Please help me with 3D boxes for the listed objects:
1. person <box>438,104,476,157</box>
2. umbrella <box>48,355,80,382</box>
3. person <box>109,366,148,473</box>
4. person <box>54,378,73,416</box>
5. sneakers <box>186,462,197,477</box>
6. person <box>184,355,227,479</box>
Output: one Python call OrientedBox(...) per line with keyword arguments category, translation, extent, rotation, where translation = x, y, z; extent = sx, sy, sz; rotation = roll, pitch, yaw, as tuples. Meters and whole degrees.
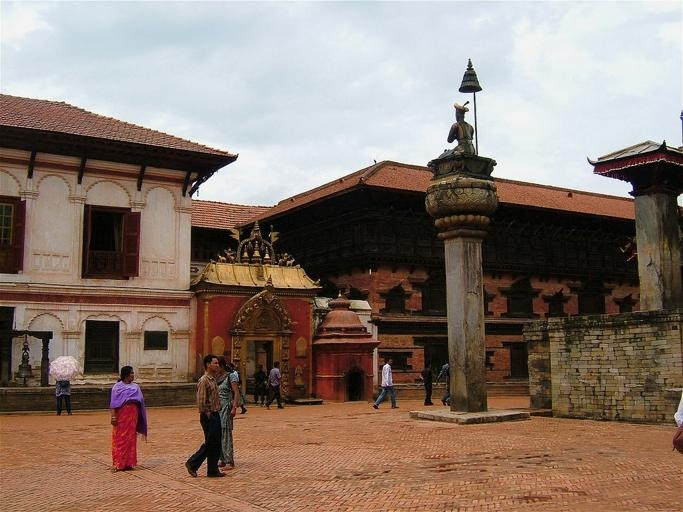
OrientedBox(category="person", translation=(3.458, -3.654, 23.537), extent=(1.185, 1.491, 1.170), rotation=(1, 7, 45))
OrientedBox(category="umbrella", translation=(-8.510, 3.455, 25.154), extent=(0.731, 0.758, 0.777), rotation=(6, -11, -28))
OrientedBox(category="person", translation=(-4.125, 3.103, 15.744), extent=(0.629, 1.949, 0.664), rotation=(-1, -10, 5))
OrientedBox(category="person", translation=(-8.673, 4.372, 25.538), extent=(0.525, 1.079, 1.698), rotation=(4, -11, -18))
OrientedBox(category="sneakers", translation=(-2.768, 3.933, 15.127), extent=(0.226, 0.271, 0.509), rotation=(2, -10, -10))
OrientedBox(category="person", translation=(-2.486, 2.955, 15.289), extent=(0.685, 2.224, 0.626), rotation=(2, -10, -8))
